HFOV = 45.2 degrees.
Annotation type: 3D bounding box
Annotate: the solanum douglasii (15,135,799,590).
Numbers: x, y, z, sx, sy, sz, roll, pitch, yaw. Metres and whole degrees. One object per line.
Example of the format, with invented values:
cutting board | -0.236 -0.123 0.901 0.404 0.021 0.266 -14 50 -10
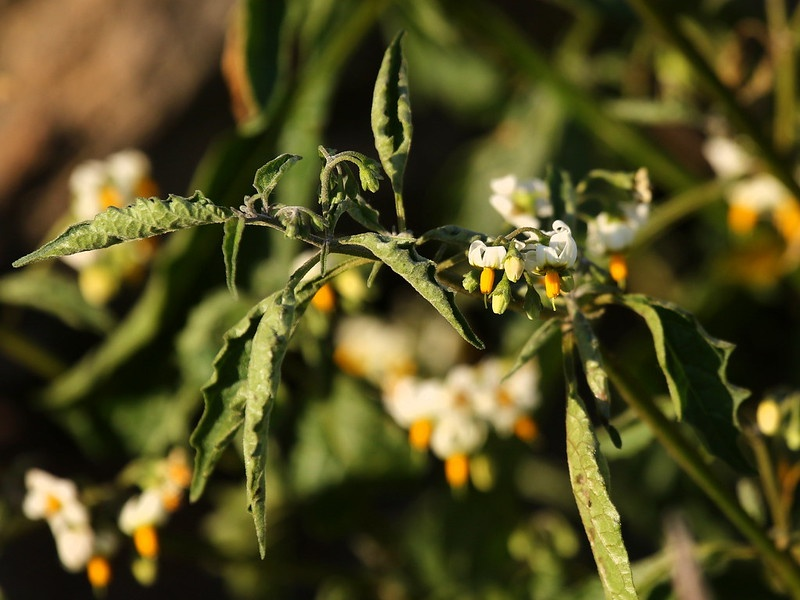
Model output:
solanum douglasii | 0.061 0.021 1.290 0.704 0.305 0.804 1 -30 26
